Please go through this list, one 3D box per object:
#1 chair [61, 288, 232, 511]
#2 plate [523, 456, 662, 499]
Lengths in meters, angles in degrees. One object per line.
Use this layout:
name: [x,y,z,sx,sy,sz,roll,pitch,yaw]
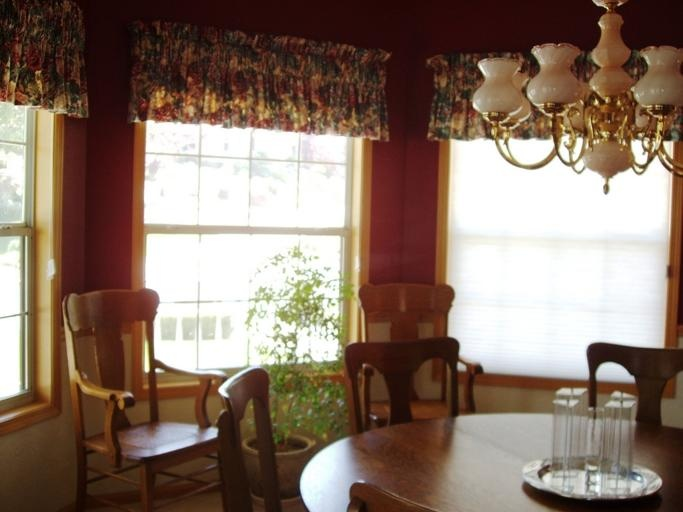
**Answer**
chair: [-1.132,0.861,3.766,0.933,1.318,0.719,2,2,45]
plate: [0.942,0.841,2.486,0.519,0.088,0.212,0,1,7]
